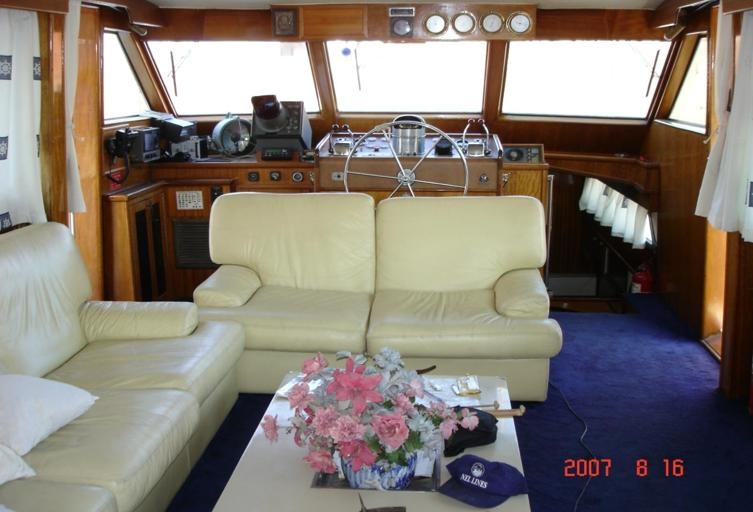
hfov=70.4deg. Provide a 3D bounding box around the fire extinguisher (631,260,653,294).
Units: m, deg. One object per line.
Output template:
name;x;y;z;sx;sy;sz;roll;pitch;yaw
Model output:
fire extinguisher;2.431;0.231;4.886;0.181;0.273;0.362;5;18;26

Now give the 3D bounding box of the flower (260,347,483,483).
flower;-0.032;0.617;2.071;0.803;0.540;0.469;2;17;17
